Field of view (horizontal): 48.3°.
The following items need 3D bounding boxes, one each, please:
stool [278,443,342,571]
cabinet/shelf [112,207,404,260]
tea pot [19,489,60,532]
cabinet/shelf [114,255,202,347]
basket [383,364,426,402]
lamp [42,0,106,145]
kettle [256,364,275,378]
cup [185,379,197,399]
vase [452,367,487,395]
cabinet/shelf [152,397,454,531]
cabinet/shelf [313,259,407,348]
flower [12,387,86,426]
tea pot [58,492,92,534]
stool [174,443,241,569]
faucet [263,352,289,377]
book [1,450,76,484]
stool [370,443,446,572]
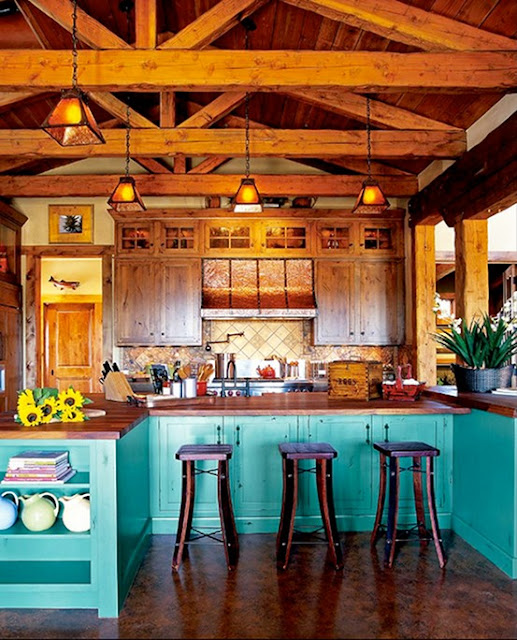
[{"bbox_3d":[0.292,1.066,3.483,0.374,0.694,0.580,0,5,2],"label":"stool"},{"bbox_3d":[0.020,-0.888,6.613,3.329,0.637,0.501,2,-10,13],"label":"cabinet/shelf"},{"bbox_3d":[-1.121,0.986,2.945,0.211,0.182,0.164,-4,1,-16],"label":"tea pot"},{"bbox_3d":[-1.109,-0.193,6.433,1.109,0.965,0.385,0,-3,0],"label":"cabinet/shelf"},{"bbox_3d":[1.024,0.441,4.099,0.268,0.224,0.272,-1,0,4],"label":"basket"},{"bbox_3d":[-1.120,-1.545,3.449,0.318,1.058,0.922,-1,5,-18],"label":"lamp"},{"bbox_3d":[0.085,0.597,6.443,0.195,0.139,0.118,-1,-1,0],"label":"kettle"},{"bbox_3d":[-0.473,0.472,3.983,0.102,0.121,0.054,-3,6,-33],"label":"cup"},{"bbox_3d":[1.472,0.431,4.044,0.197,0.136,0.168,-1,-2,39],"label":"vase"},{"bbox_3d":[0.264,0.990,4.082,2.152,0.777,0.586,3,-8,-15],"label":"cabinet/shelf"},{"bbox_3d":[1.118,-0.172,6.496,1.049,0.894,0.329,1,-3,-5],"label":"cabinet/shelf"},{"bbox_3d":[-1.122,0.501,3.127,0.260,0.242,0.059,17,-48,-10],"label":"flower"},{"bbox_3d":[-0.908,0.970,2.886,0.211,0.185,0.155,-1,-12,-16],"label":"tea pot"},{"bbox_3d":[-0.305,1.077,3.468,0.375,0.731,0.611,0,5,-3],"label":"stool"},{"bbox_3d":[0.172,0.531,6.682,0.326,0.261,0.178,0,-2,-3],"label":"faucet"},{"bbox_3d":[-1.080,0.731,2.865,0.234,0.089,0.205,0,-2,-5],"label":"book"},{"bbox_3d":[0.871,1.087,3.445,0.516,0.599,0.475,-2,-8,17],"label":"stool"}]
